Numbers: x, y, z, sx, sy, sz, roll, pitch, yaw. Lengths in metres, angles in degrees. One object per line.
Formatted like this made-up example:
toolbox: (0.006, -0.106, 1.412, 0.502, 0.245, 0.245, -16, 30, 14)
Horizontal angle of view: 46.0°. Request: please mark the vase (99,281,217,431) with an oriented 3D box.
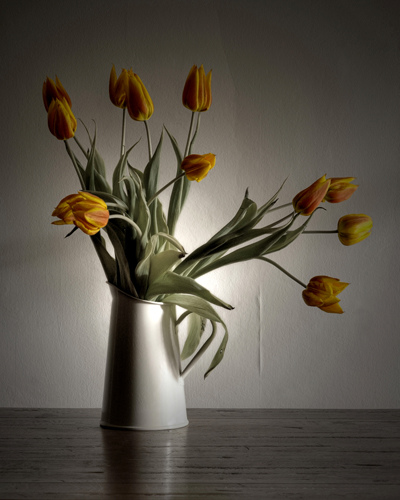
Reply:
vase: (-0.058, 0.152, 0.665, 0.203, 0.248, 0.128, 2, -13, -8)
